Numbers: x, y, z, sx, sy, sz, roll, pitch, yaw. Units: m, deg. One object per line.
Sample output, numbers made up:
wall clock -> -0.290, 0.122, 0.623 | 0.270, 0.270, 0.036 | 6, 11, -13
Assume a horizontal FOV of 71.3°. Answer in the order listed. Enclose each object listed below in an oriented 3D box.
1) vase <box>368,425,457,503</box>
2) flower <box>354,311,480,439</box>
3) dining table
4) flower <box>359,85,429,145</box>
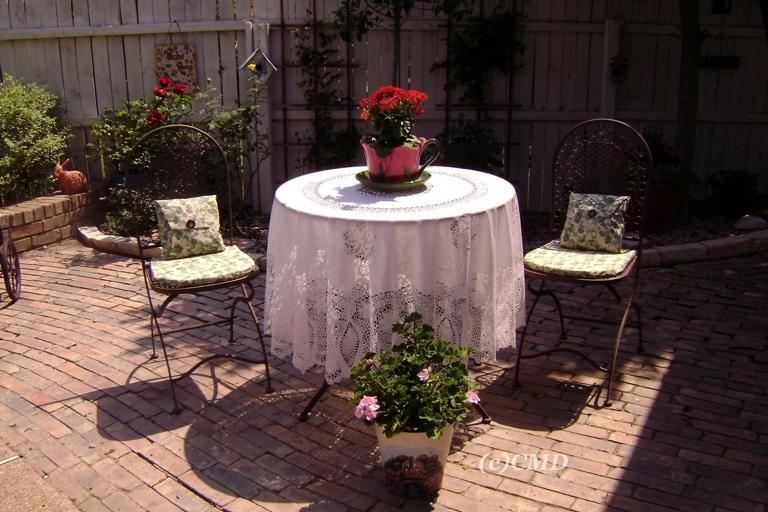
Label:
vase -> 0.153, 1.222, 3.341 | 0.492, 0.356, 0.429 | 0, 5, -17
flower -> 0.178, 0.669, 3.403 | 0.764, 0.764, 0.698 | -2, -2, 1
dining table -> 0.138, 0.094, 4.030 | 1.686, 1.256, 1.720 | -1, 14, -9
flower -> 0.058, -1.028, 4.044 | 0.559, 0.435, 0.543 | -9, 20, -3
